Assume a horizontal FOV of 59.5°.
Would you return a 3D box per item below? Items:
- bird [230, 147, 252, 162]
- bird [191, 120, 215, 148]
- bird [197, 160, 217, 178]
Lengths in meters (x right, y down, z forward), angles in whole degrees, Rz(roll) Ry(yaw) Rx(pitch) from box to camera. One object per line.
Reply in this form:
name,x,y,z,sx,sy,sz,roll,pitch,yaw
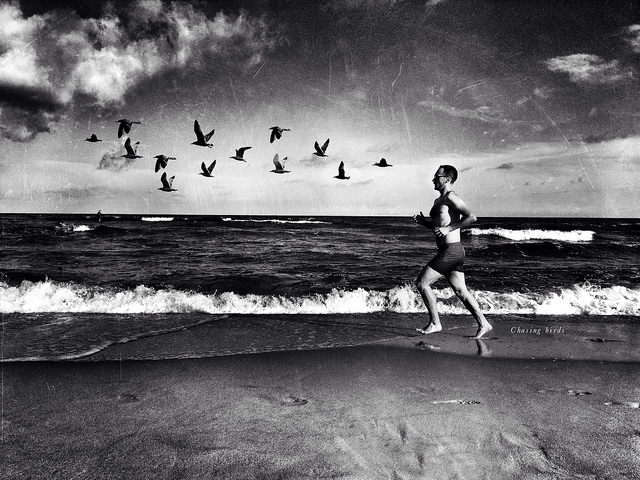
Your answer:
bird,-1.847,-2.010,13.023,0.316,0.368,1.065,-2,13,-8
bird,-2.573,-2.334,12.390,0.397,0.530,1.247,-3,13,-12
bird,-2.933,-1.833,14.711,0.303,0.338,0.704,-3,13,-10
